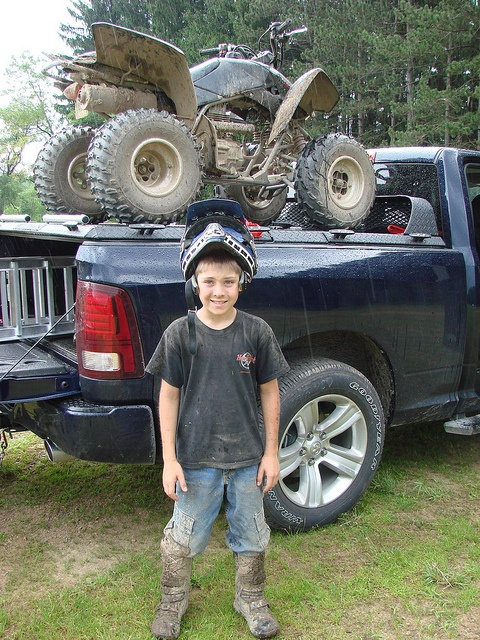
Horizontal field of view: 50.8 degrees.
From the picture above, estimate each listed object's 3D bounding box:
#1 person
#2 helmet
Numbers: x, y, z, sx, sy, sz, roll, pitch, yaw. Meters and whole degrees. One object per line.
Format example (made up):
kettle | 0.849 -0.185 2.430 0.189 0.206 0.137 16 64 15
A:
person | -0.095 0.346 1.628 0.402 1.417 0.340 -4 5 -41
helmet | -0.048 -0.226 1.511 0.212 0.233 0.282 -1 10 2
